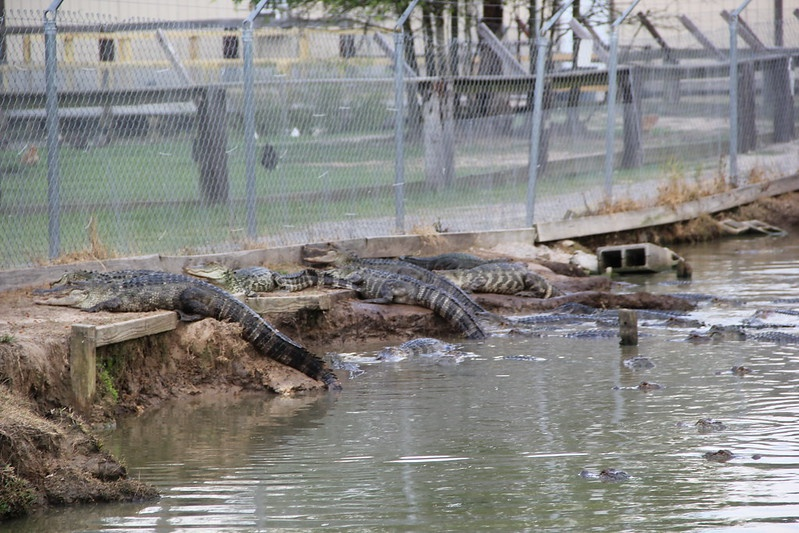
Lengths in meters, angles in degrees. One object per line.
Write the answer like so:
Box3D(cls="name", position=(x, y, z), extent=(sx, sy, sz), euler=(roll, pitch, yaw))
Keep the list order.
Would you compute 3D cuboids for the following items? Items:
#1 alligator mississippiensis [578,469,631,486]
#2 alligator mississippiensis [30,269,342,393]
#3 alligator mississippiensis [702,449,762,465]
Box3D(cls="alligator mississippiensis", position=(2.373, 2.411, 18.499), extent=(0.593, 0.112, 0.197), euler=(-1, 8, 11))
Box3D(cls="alligator mississippiensis", position=(-2.909, 0.561, 21.706), extent=(4.135, 0.886, 1.597), euler=(19, -5, -2))
Box3D(cls="alligator mississippiensis", position=(3.840, 2.211, 18.697), extent=(0.477, 0.081, 0.243), euler=(-1, 11, 8))
